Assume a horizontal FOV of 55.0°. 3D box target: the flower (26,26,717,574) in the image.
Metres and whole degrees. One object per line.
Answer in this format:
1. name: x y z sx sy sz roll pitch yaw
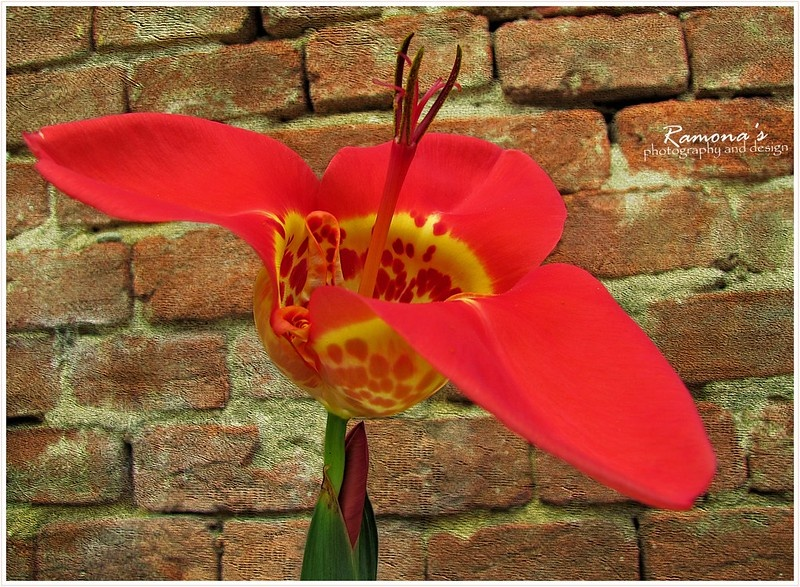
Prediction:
1. flower: 0.020 0.017 0.787 0.610 0.541 0.490 8 -69 -6
